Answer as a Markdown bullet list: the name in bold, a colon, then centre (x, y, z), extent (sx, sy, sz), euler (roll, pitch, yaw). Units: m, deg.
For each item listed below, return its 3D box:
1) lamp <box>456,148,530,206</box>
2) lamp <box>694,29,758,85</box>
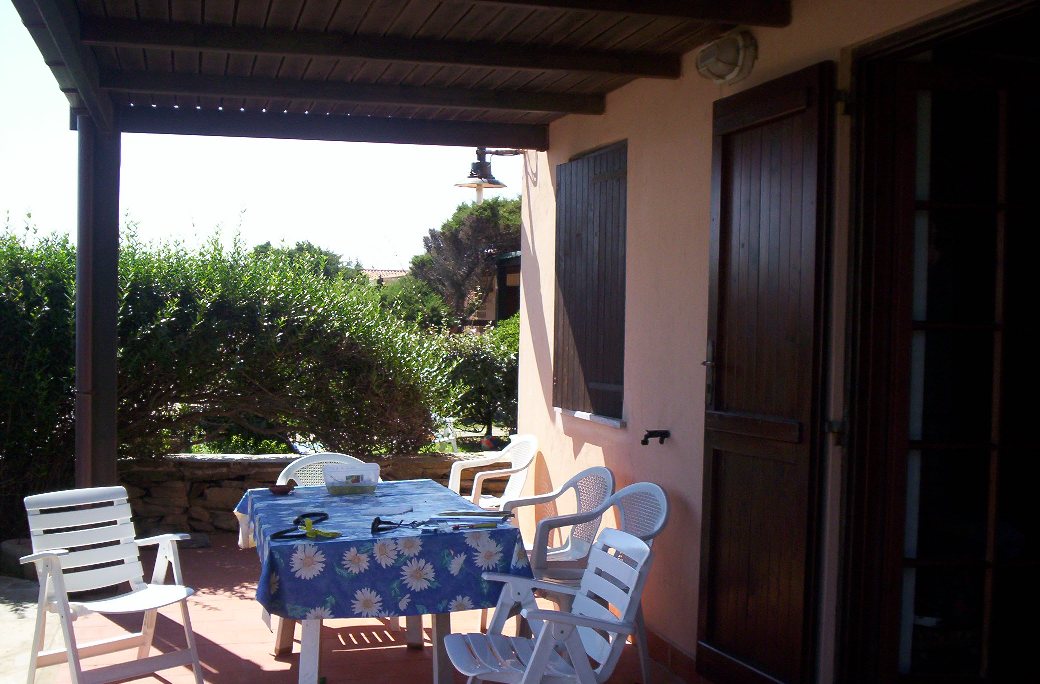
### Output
- **lamp**: centre (-0.381, -2.046, 10.451), extent (0.920, 0.798, 0.618), euler (10, 6, 34)
- **lamp**: centre (1.355, -1.839, 5.420), extent (0.383, 0.333, 0.193), euler (-1, 2, 16)
